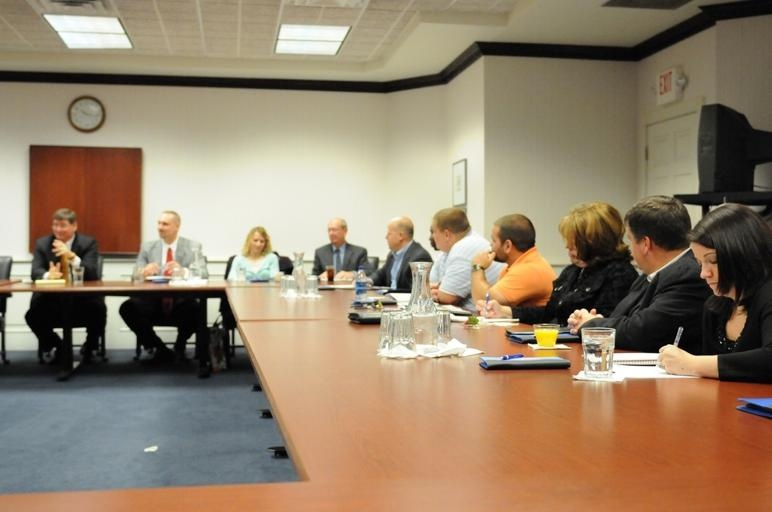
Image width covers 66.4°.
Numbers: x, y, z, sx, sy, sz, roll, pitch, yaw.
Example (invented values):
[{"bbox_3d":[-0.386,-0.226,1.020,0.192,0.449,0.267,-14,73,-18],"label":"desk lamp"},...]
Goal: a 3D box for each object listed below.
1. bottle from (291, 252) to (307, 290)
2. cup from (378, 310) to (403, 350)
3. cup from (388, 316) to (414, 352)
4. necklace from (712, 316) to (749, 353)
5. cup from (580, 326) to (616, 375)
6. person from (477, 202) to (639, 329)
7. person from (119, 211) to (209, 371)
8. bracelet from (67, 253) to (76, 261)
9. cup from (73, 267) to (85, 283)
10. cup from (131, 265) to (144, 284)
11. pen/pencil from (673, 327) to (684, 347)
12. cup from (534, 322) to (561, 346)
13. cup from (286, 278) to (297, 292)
[{"bbox_3d":[-0.657,0.137,4.518,0.101,0.274,0.450,1,16,-13],"label":"bottle"},{"bbox_3d":[0.029,0.301,2.312,0.100,0.149,0.100,-1,-15,0],"label":"cup"},{"bbox_3d":[0.054,0.288,2.185,0.118,0.144,0.115,-1,0,0],"label":"cup"},{"bbox_3d":[1.267,0.293,2.181,0.070,0.119,0.124,15,-18,-25],"label":"necklace"},{"bbox_3d":[0.738,0.322,2.003,0.136,0.159,0.130,0,0,0],"label":"cup"},{"bbox_3d":[0.991,0.091,3.260,0.672,0.726,0.876,2,2,-10],"label":"person"},{"bbox_3d":[-2.218,0.341,6.042,1.045,1.681,0.948,-6,-8,33],"label":"person"},{"bbox_3d":[-2.982,0.012,5.623,0.073,0.073,0.028,41,-33,-23],"label":"bracelet"},{"bbox_3d":[-2.769,0.180,5.390,0.128,0.142,0.127,-1,-9,0],"label":"cup"},{"bbox_3d":[-2.467,0.190,5.890,0.113,0.205,0.123,1,-13,0],"label":"cup"},{"bbox_3d":[1.151,0.318,2.344,0.025,0.083,0.019,16,-3,43],"label":"pen/pencil"},{"bbox_3d":[0.649,0.320,2.398,0.096,0.071,0.096,0,-6,0],"label":"cup"},{"bbox_3d":[-0.693,0.217,4.385,0.086,0.125,0.086,0,1,0],"label":"cup"}]
